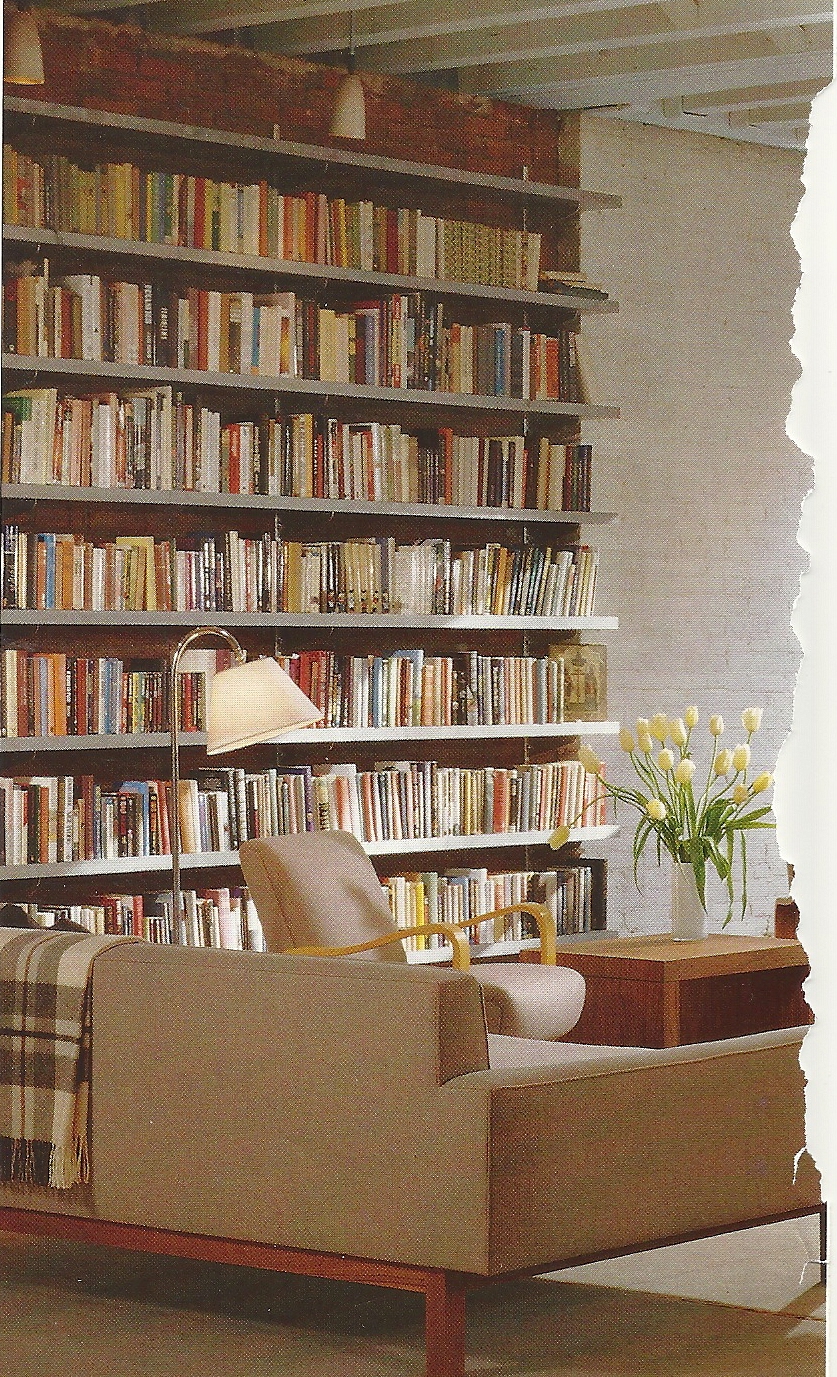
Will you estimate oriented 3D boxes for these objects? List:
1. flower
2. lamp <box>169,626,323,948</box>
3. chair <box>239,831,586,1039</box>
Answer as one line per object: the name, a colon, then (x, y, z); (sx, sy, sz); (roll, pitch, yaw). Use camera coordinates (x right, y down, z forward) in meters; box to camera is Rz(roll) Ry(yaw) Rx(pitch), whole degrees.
flower: (0.768, 0.424, 4.173); (0.404, 0.598, 0.638); (-4, 0, 12)
lamp: (-0.458, 0.192, 3.741); (0.391, 0.930, 1.207); (1, -9, -9)
chair: (-0.069, 0.577, 3.636); (0.779, 0.778, 0.521); (-5, -5, 33)
